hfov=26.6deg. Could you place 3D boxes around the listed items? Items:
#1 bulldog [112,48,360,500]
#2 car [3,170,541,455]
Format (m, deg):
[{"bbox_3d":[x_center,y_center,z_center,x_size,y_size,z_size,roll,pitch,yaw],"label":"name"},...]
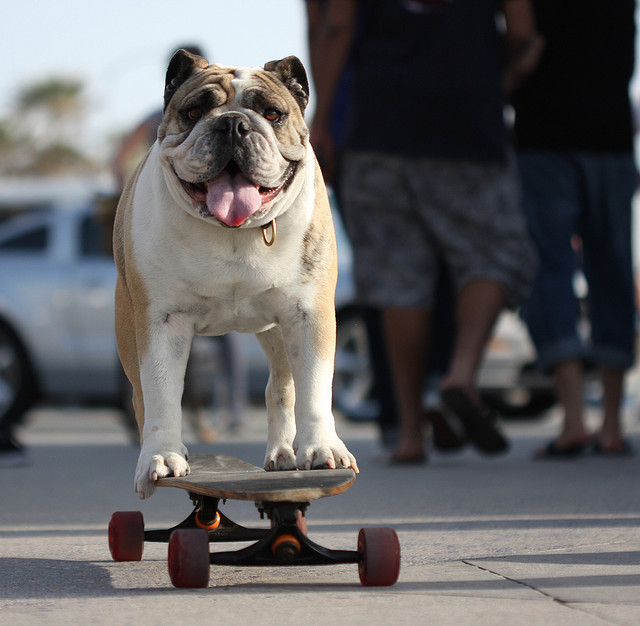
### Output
[{"bbox_3d":[-0.258,-0.044,4.306,0.797,1.159,1.656,4,-12,-3],"label":"bulldog"},{"bbox_3d":[-0.508,-0.110,8.666,3.991,1.132,1.616,1,-7,-2],"label":"car"}]
